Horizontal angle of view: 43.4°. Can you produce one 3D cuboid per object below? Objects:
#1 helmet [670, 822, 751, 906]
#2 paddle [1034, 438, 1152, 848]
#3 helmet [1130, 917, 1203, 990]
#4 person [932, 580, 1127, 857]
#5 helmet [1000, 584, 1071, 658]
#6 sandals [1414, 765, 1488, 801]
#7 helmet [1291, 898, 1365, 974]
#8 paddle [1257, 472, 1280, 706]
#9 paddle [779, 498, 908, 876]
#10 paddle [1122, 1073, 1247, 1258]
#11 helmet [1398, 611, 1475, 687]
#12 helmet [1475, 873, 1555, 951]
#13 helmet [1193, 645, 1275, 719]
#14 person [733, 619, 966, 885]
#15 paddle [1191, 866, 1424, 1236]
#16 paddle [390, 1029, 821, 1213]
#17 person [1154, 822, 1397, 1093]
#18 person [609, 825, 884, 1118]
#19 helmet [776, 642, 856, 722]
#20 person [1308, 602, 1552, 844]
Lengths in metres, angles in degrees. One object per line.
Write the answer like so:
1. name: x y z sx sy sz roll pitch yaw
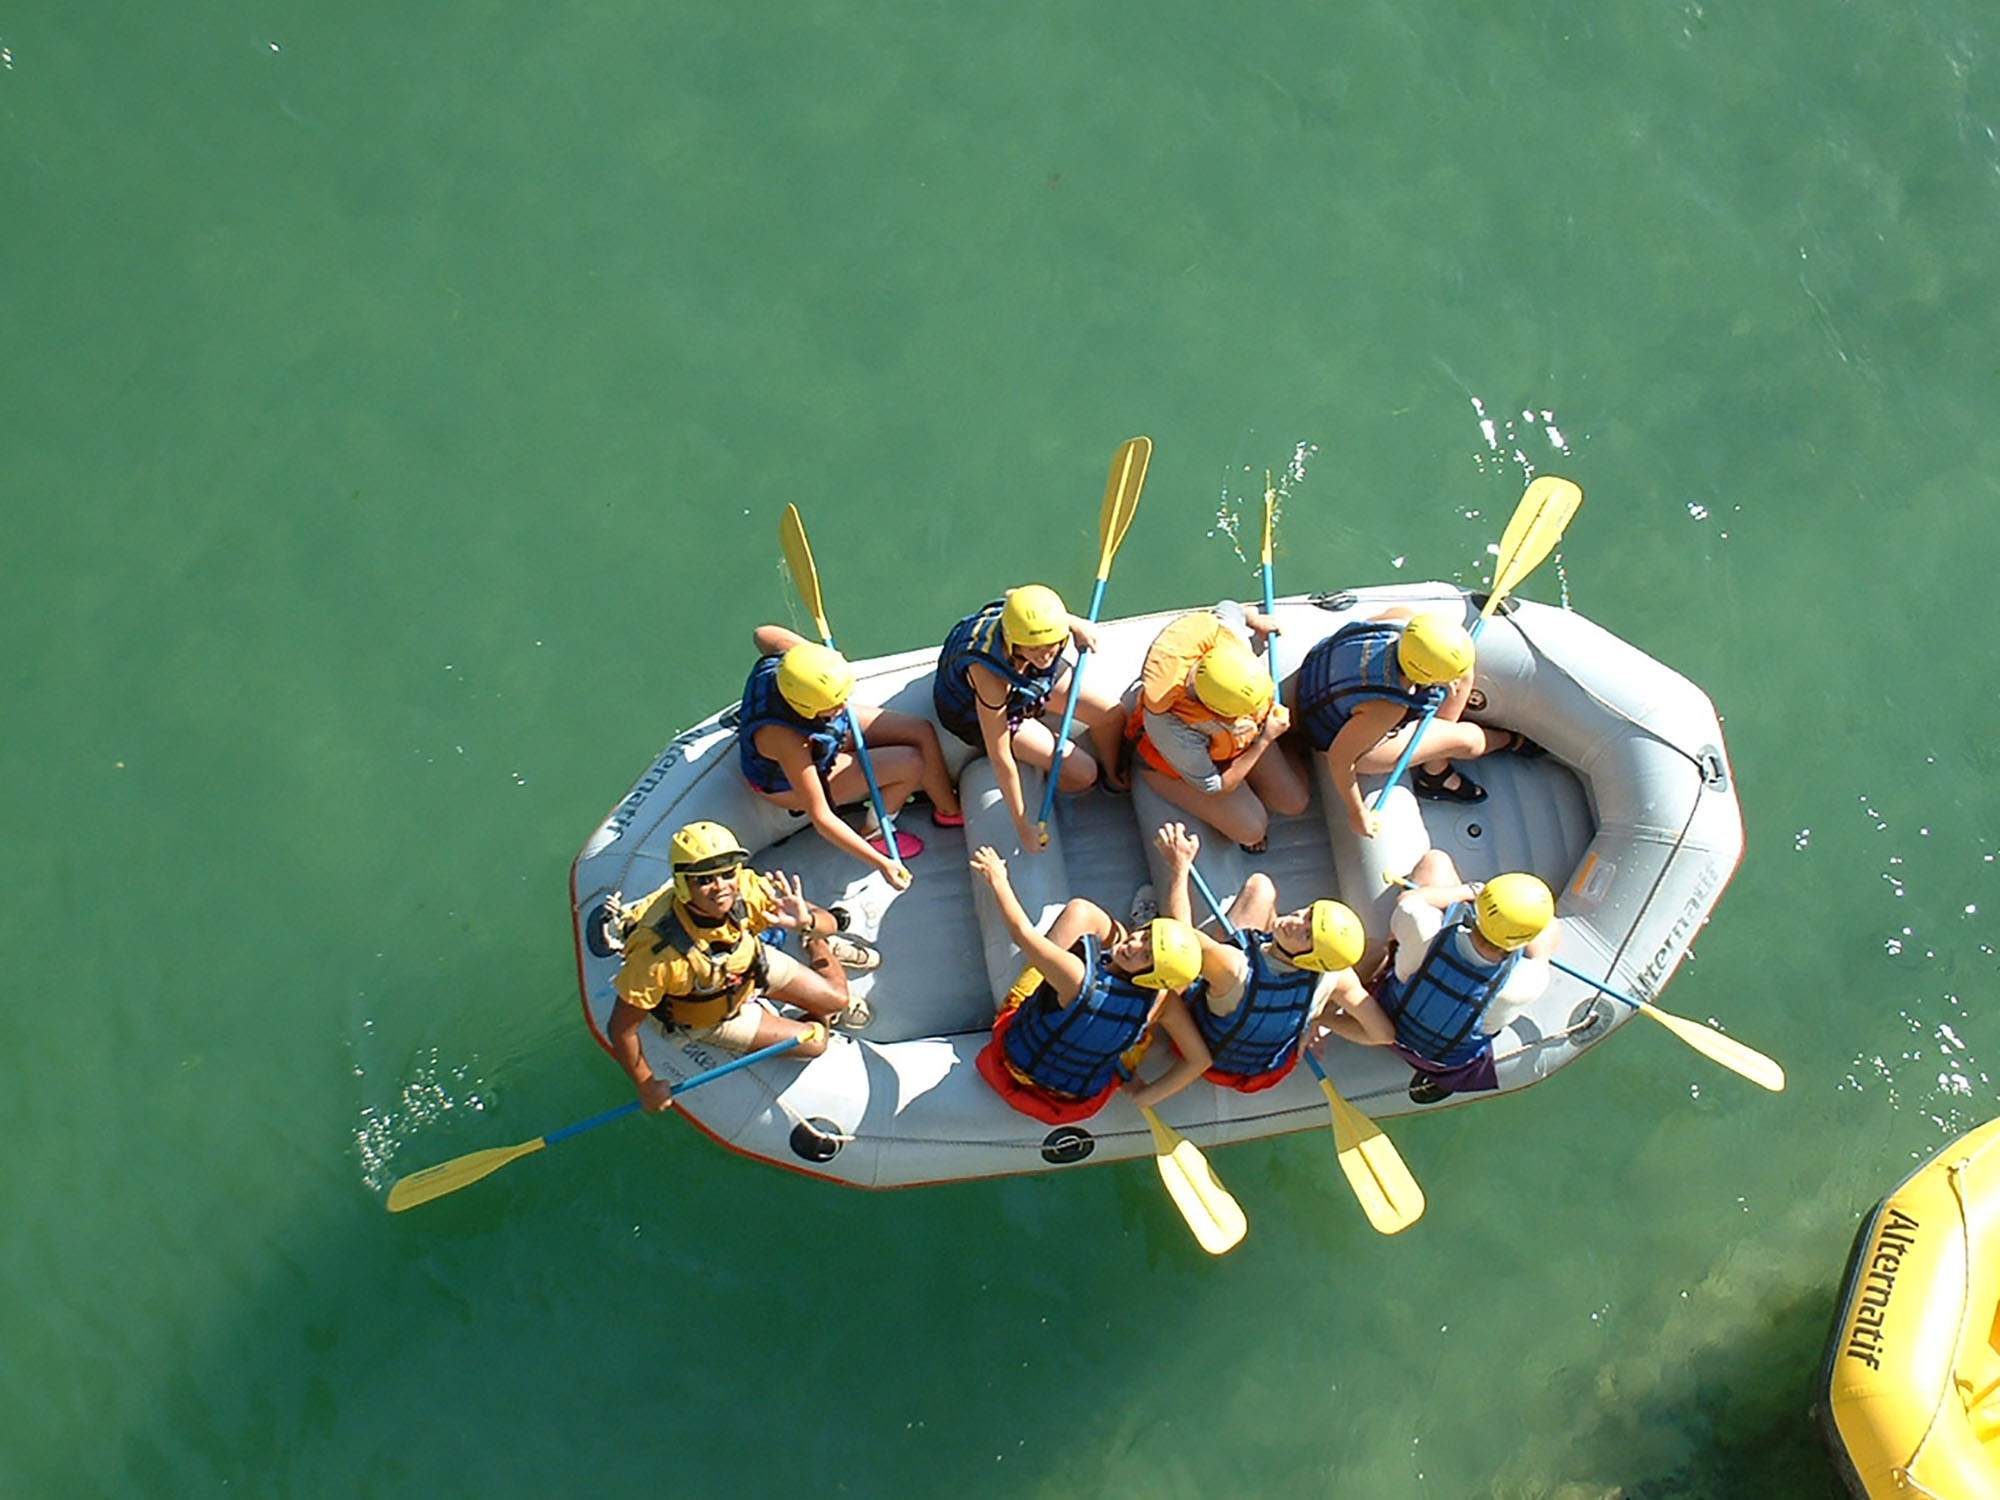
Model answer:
1. helmet: -1.178 0.453 10.139 0.234 0.331 0.344 -4 84 -21
2. paddle: 0.433 -0.420 11.413 0.209 0.086 2.032 17 80 9
3. helmet: 0.713 0.840 10.363 0.235 0.302 0.228 6 64 -1
4. person: 0.137 -0.086 10.980 0.512 0.916 0.716 29 76 10
5. helmet: 0.158 -0.548 10.769 0.285 0.476 0.317 0 78 3
6. sandals: 2.001 0.162 11.304 0.364 0.154 0.137 7 68 4
7. helmet: 1.363 0.808 10.340 0.276 0.308 0.226 7 29 -1
8. paddle: 1.238 -0.824 11.560 0.122 0.093 1.239 -6 72 22
9. paddle: -0.704 -0.221 11.308 0.184 0.076 1.818 -17 85 -28
10. paddle: 0.815 1.815 10.736 0.284 0.127 0.900 -27 76 -24
11. helmet: 1.829 -0.376 10.750 0.260 0.340 0.252 41 76 9
12. helmet: 2.122 0.662 10.415 0.304 0.209 0.287 -8 78 1
13. helmet: 0.977 -0.299 10.524 0.243 0.340 0.253 22 64 37
14. person: -0.639 -0.053 10.964 0.883 1.104 1.406 -5 71 -3
15. paddle: 1.311 1.235 10.789 0.293 0.083 1.797 -27 89 -12
16. paddle: -1.687 1.669 11.116 1.486 0.126 0.135 -30 48 6
17. person: 1.389 0.886 10.823 0.995 1.364 1.070 -2 83 -18
18. person: -1.107 0.824 10.495 1.064 1.286 0.809 -15 44 -15
19. helmet: -0.773 -0.295 10.574 0.255 0.335 0.253 16 70 -14
20. person: 1.904 -0.254 11.052 1.160 1.299 0.596 -7 58 -1
